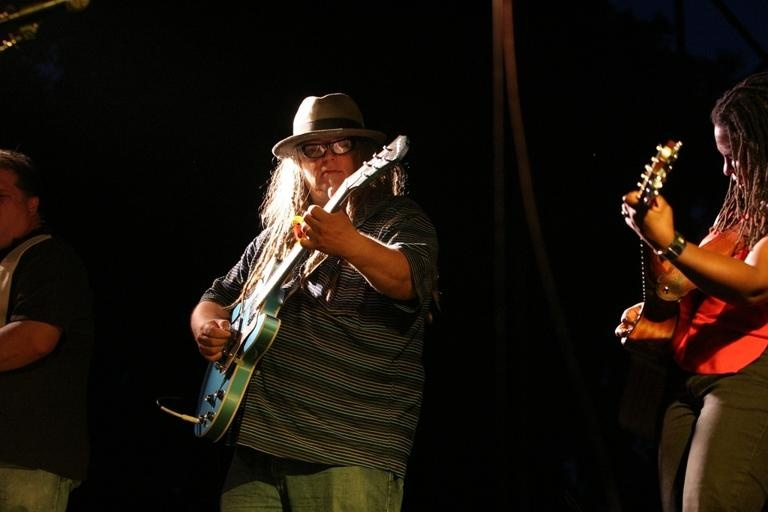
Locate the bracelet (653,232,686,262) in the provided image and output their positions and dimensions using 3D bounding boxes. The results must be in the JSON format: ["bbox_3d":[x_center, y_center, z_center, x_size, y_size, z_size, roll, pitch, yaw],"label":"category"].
[{"bbox_3d":[1.322,-0.065,3.282,0.085,0.132,0.133,39,29,17],"label":"bracelet"}]

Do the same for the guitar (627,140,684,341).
[{"bbox_3d":[1.353,-0.079,3.513,0.192,1.155,0.459,0,41,11],"label":"guitar"}]
